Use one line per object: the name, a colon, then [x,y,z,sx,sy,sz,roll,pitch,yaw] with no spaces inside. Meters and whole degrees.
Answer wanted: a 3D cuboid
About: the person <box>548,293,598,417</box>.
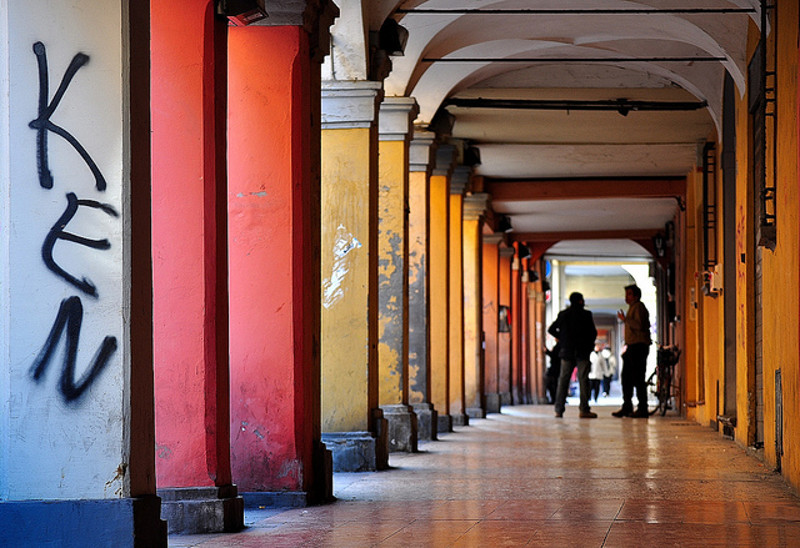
person: [3.128,1.424,17.996,0.730,2.213,0.661,1,3,17]
